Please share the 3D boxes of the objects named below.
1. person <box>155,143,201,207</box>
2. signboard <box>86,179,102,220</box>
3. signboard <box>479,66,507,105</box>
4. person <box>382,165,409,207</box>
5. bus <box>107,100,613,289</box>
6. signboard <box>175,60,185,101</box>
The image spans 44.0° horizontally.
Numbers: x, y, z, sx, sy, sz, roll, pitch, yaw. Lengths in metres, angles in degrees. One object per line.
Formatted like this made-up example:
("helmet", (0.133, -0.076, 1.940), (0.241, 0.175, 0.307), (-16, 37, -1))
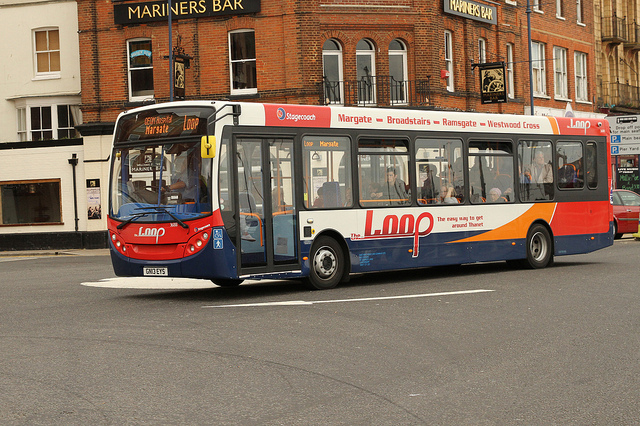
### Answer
("person", (-2.684, -0.741, 15.343), (0.742, 1.186, 0.284), (2, 5, 27))
("signboard", (-9.496, -0.583, 33.031), (0.647, 1.644, 0.330), (-1, 4, -2))
("signboard", (7.545, -5.616, 34.359), (1.374, 2.067, 0.197), (-3, 5, 29))
("person", (1.670, -0.593, 17.363), (0.572, 0.856, 0.195), (-1, 1, -3))
("bus", (2.081, -0.335, 19.204), (11.070, 3.633, 3.212), (-2, -2, -23))
("signboard", (-5.597, -5.295, 31.385), (0.261, 1.533, 0.581), (3, 5, 40))
